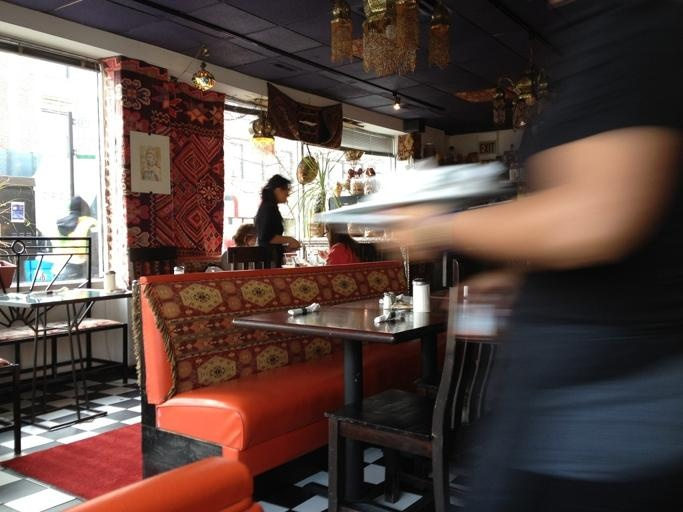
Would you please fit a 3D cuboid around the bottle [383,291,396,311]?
[{"bbox_3d":[0.219,0.223,2.496,0.071,0.118,0.071,2,-3,0],"label":"bottle"}]

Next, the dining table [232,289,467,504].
[{"bbox_3d":[0.167,0.478,2.275,0.950,0.878,0.945,3,5,36],"label":"dining table"}]

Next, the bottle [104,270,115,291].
[{"bbox_3d":[-1.971,0.210,4.398,0.085,0.155,0.122,-4,4,-21],"label":"bottle"}]

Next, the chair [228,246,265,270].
[{"bbox_3d":[-0.785,0.016,3.973,0.187,0.119,0.282,-6,-5,36],"label":"chair"}]

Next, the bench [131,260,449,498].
[{"bbox_3d":[-0.240,0.565,2.316,0.392,0.529,1.108,-2,1,37],"label":"bench"}]

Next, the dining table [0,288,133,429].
[{"bbox_3d":[-1.954,0.737,3.890,0.981,0.941,0.969,-3,3,-34],"label":"dining table"}]

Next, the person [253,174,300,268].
[{"bbox_3d":[-0.659,-0.358,4.985,0.392,0.868,0.679,-2,4,5],"label":"person"}]

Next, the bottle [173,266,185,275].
[{"bbox_3d":[-1.300,0.112,4.128,0.070,0.064,0.069,0,-4,-5],"label":"bottle"}]
